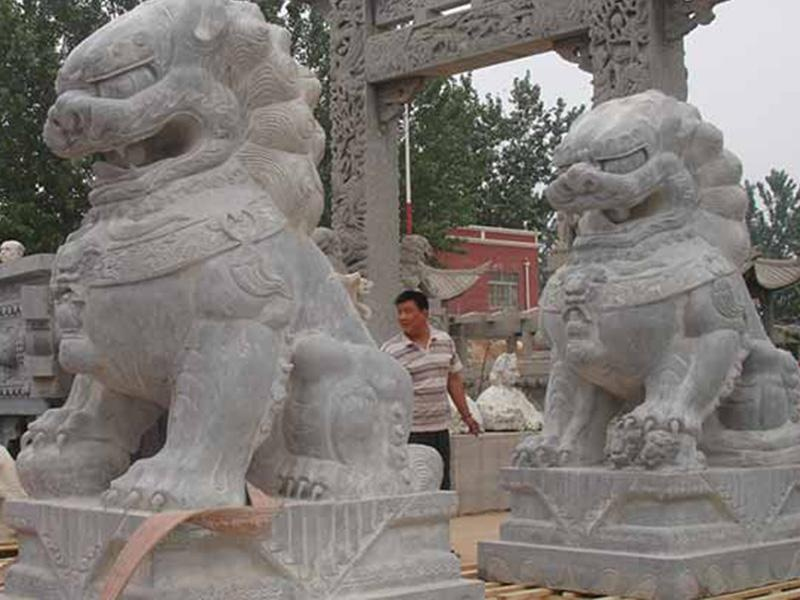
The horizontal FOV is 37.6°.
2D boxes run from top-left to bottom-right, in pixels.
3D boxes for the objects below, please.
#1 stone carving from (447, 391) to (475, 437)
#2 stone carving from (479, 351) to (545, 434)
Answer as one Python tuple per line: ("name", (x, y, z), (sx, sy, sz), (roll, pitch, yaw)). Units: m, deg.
("stone carving", (0.370, 0.719, 7.430), (0.238, 0.253, 0.253), (0, -14, -6))
("stone carving", (0.661, 0.621, 7.827), (0.470, 0.456, 0.430), (0, -1, 31))
